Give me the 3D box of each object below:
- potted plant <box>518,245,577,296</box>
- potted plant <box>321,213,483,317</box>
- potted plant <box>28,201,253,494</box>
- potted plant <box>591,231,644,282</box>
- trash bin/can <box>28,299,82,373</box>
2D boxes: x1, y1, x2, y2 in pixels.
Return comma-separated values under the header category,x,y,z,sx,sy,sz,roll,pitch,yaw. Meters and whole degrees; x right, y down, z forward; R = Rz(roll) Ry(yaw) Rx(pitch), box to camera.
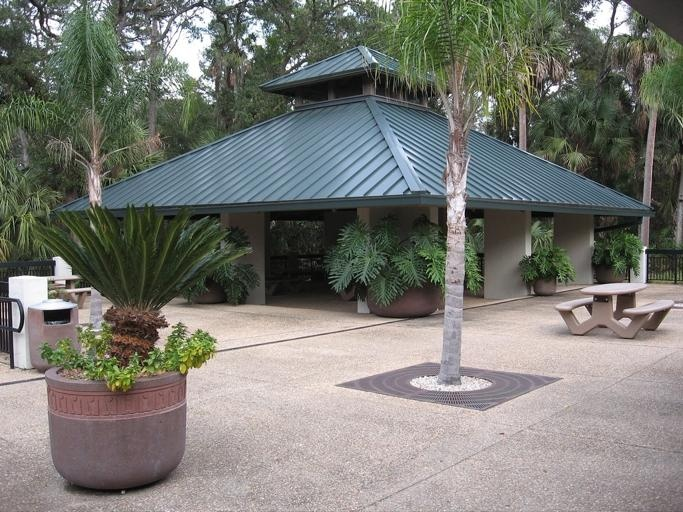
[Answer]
category,x,y,z,sx,sy,sz,roll,pitch,yaw
potted plant,7.256,0.514,19.639,1.708,1.869,1.799,1,-5,-10
potted plant,1.508,0.615,14.616,3.037,1.938,3.148,4,13,44
potted plant,-2.078,0.902,5.158,1.851,2.642,1.810,16,11,43
potted plant,11.922,-0.012,23.881,2.042,2.270,2.121,2,-4,-14
trash bin/can,-4.754,1.319,8.896,0.728,1.160,0.713,1,1,-40
